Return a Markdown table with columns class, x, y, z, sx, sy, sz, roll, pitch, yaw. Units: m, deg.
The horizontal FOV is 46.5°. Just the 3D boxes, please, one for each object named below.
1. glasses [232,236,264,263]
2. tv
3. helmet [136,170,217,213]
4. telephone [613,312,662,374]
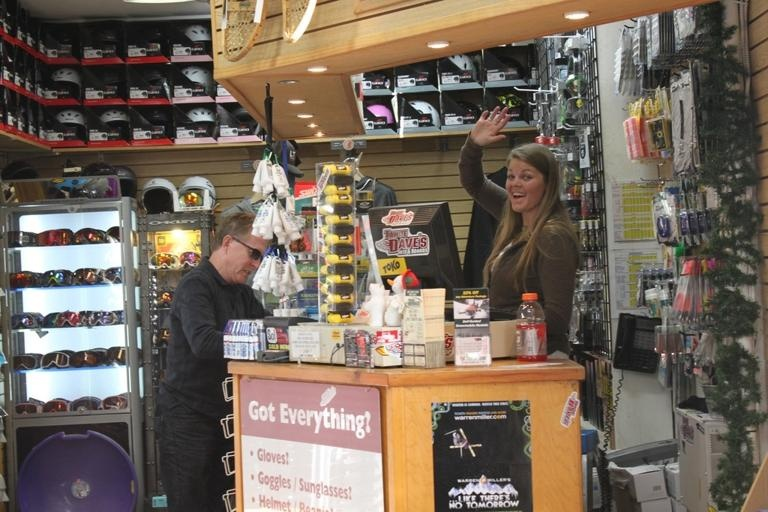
| class | x | y | z | sx | sy | sz | roll | pitch | yaw |
| --- | --- | --- | --- | --- | --- | --- | --- | --- | --- |
| glasses | -0.929 | -0.044 | 5.992 | 0.055 | 0.183 | 0.179 | -40 | -30 | 12 |
| tv | 0.170 | -0.021 | 5.200 | 0.516 | 0.706 | 0.367 | -14 | 1 | 14 |
| helmet | -2.033 | -0.634 | 8.838 | 0.453 | 0.260 | 0.606 | -1 | -3 | -4 |
| telephone | 2.092 | 0.713 | 7.370 | 0.356 | 0.499 | 0.274 | 7 | 6 | 19 |
